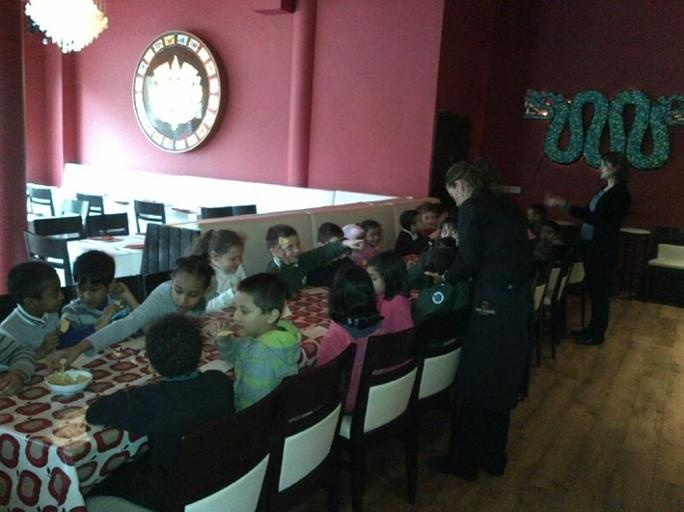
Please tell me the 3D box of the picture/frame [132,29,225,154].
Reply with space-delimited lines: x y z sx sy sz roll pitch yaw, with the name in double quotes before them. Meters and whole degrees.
"picture/frame" -1.954 -2.052 6.836 1.481 1.835 0.232 -1 7 28
